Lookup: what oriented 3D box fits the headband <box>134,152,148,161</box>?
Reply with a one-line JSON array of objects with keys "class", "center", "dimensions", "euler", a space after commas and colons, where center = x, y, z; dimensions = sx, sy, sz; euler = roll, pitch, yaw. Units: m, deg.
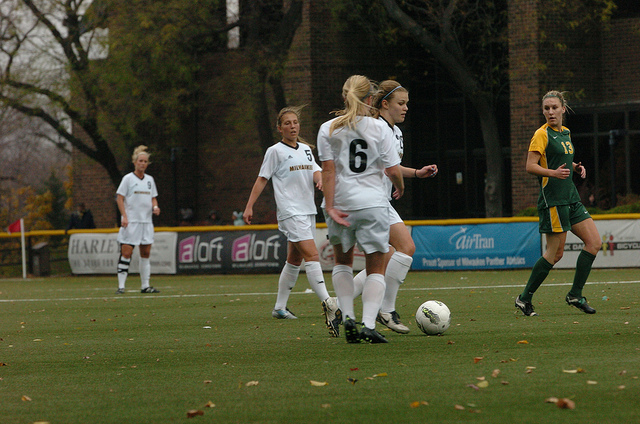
[{"class": "headband", "center": [-3.793, -1.170, 21.331], "dimensions": [0.277, 0.133, 0.121], "euler": [-2, 1, -12]}]

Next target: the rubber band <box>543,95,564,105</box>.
[{"class": "rubber band", "center": [4.032, -1.924, 17.317], "dimensions": [0.184, 0.182, 0.055], "euler": [0, 2, 2]}]

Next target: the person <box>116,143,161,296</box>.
[{"class": "person", "center": [-3.904, 0.165, 21.432], "dimensions": [0.947, 2.513, 0.703], "euler": [-2, 1, -9]}]

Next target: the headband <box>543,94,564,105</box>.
[{"class": "headband", "center": [4.083, -1.935, 17.385], "dimensions": [0.375, 0.167, 0.144], "euler": [-3, 1, -24]}]

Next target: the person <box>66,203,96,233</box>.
[{"class": "person", "center": [-6.982, 0.466, 29.526], "dimensions": [0.923, 1.427, 0.468], "euler": [-1, 17, -15]}]

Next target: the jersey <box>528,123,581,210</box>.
[{"class": "jersey", "center": [4.059, -0.794, 17.396], "dimensions": [0.843, 1.491, 0.467], "euler": [-2, 1, 3]}]

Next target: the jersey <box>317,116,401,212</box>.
[{"class": "jersey", "center": [0.634, -0.763, 15.804], "dimensions": [1.571, 1.678, 0.902], "euler": [-2, 4, 3]}]

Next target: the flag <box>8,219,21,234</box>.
[{"class": "flag", "center": [-8.390, 0.407, 27.561], "dimensions": [0.308, 0.324, 0.785], "euler": [-2, 2, -18]}]
